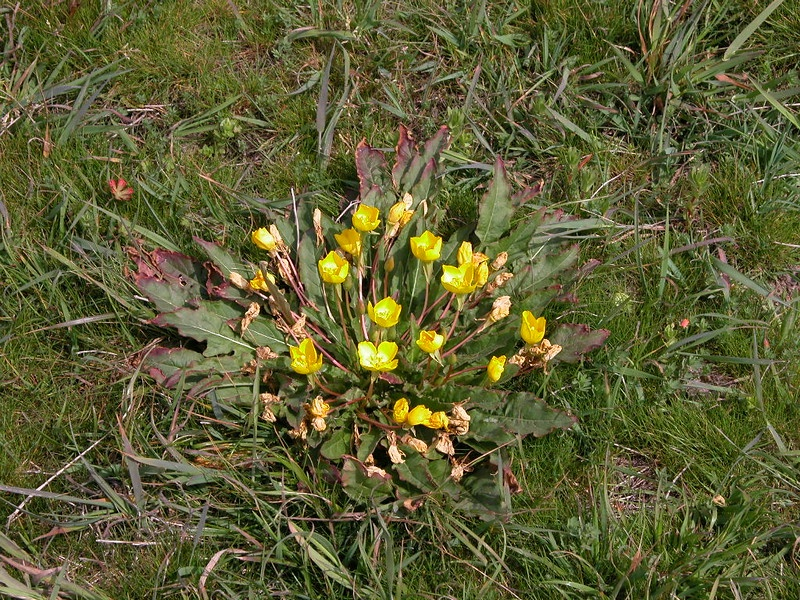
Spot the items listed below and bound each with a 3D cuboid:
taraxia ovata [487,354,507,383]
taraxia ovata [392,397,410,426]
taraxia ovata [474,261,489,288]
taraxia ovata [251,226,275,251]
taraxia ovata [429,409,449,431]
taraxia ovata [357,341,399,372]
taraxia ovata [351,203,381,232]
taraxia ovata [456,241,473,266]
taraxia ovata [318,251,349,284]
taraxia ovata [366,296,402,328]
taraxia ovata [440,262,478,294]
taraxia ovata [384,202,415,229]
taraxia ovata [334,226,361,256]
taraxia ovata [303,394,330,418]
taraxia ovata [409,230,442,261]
[{"bbox_3d":[0.418,0.300,2.895,0.077,0.181,0.123,18,86,2],"label":"taraxia ovata"},{"bbox_3d":[-0.002,0.460,2.778,0.060,0.051,0.112,2,91,2],"label":"taraxia ovata"},{"bbox_3d":[0.367,-0.113,2.945,0.067,0.038,0.104,3,84,16],"label":"taraxia ovata"},{"bbox_3d":[-0.628,-0.277,3.094,0.118,0.052,0.089,38,96,-22],"label":"taraxia ovata"},{"bbox_3d":[0.164,0.507,2.808,0.075,0.041,0.082,-30,88,-32],"label":"taraxia ovata"},{"bbox_3d":[-0.096,0.237,2.843,0.137,0.062,0.136,-10,61,-1],"label":"taraxia ovata"},{"bbox_3d":[-0.157,-0.360,3.059,0.116,0.080,0.140,-27,65,-18],"label":"taraxia ovata"},{"bbox_3d":[0.295,-0.209,3.036,0.069,0.124,0.067,29,47,34],"label":"taraxia ovata"},{"bbox_3d":[-0.287,-0.133,2.952,0.118,0.112,0.153,-22,60,-16],"label":"taraxia ovata"},{"bbox_3d":[-0.059,0.051,2.886,0.114,0.242,0.138,10,86,2],"label":"taraxia ovata"},{"bbox_3d":[0.264,-0.096,2.927,0.136,0.072,0.131,-5,63,30],"label":"taraxia ovata"},{"bbox_3d":[0.001,-0.394,3.114,0.135,0.181,0.081,-25,86,-1],"label":"taraxia ovata"},{"bbox_3d":[-0.229,-0.263,3.015,0.088,0.068,0.137,-8,51,-1],"label":"taraxia ovata"},{"bbox_3d":[-0.351,0.460,2.862,0.080,0.039,0.113,-4,86,-3],"label":"taraxia ovata"},{"bbox_3d":[0.112,-0.241,3.000,0.141,0.084,0.120,36,59,26],"label":"taraxia ovata"}]
